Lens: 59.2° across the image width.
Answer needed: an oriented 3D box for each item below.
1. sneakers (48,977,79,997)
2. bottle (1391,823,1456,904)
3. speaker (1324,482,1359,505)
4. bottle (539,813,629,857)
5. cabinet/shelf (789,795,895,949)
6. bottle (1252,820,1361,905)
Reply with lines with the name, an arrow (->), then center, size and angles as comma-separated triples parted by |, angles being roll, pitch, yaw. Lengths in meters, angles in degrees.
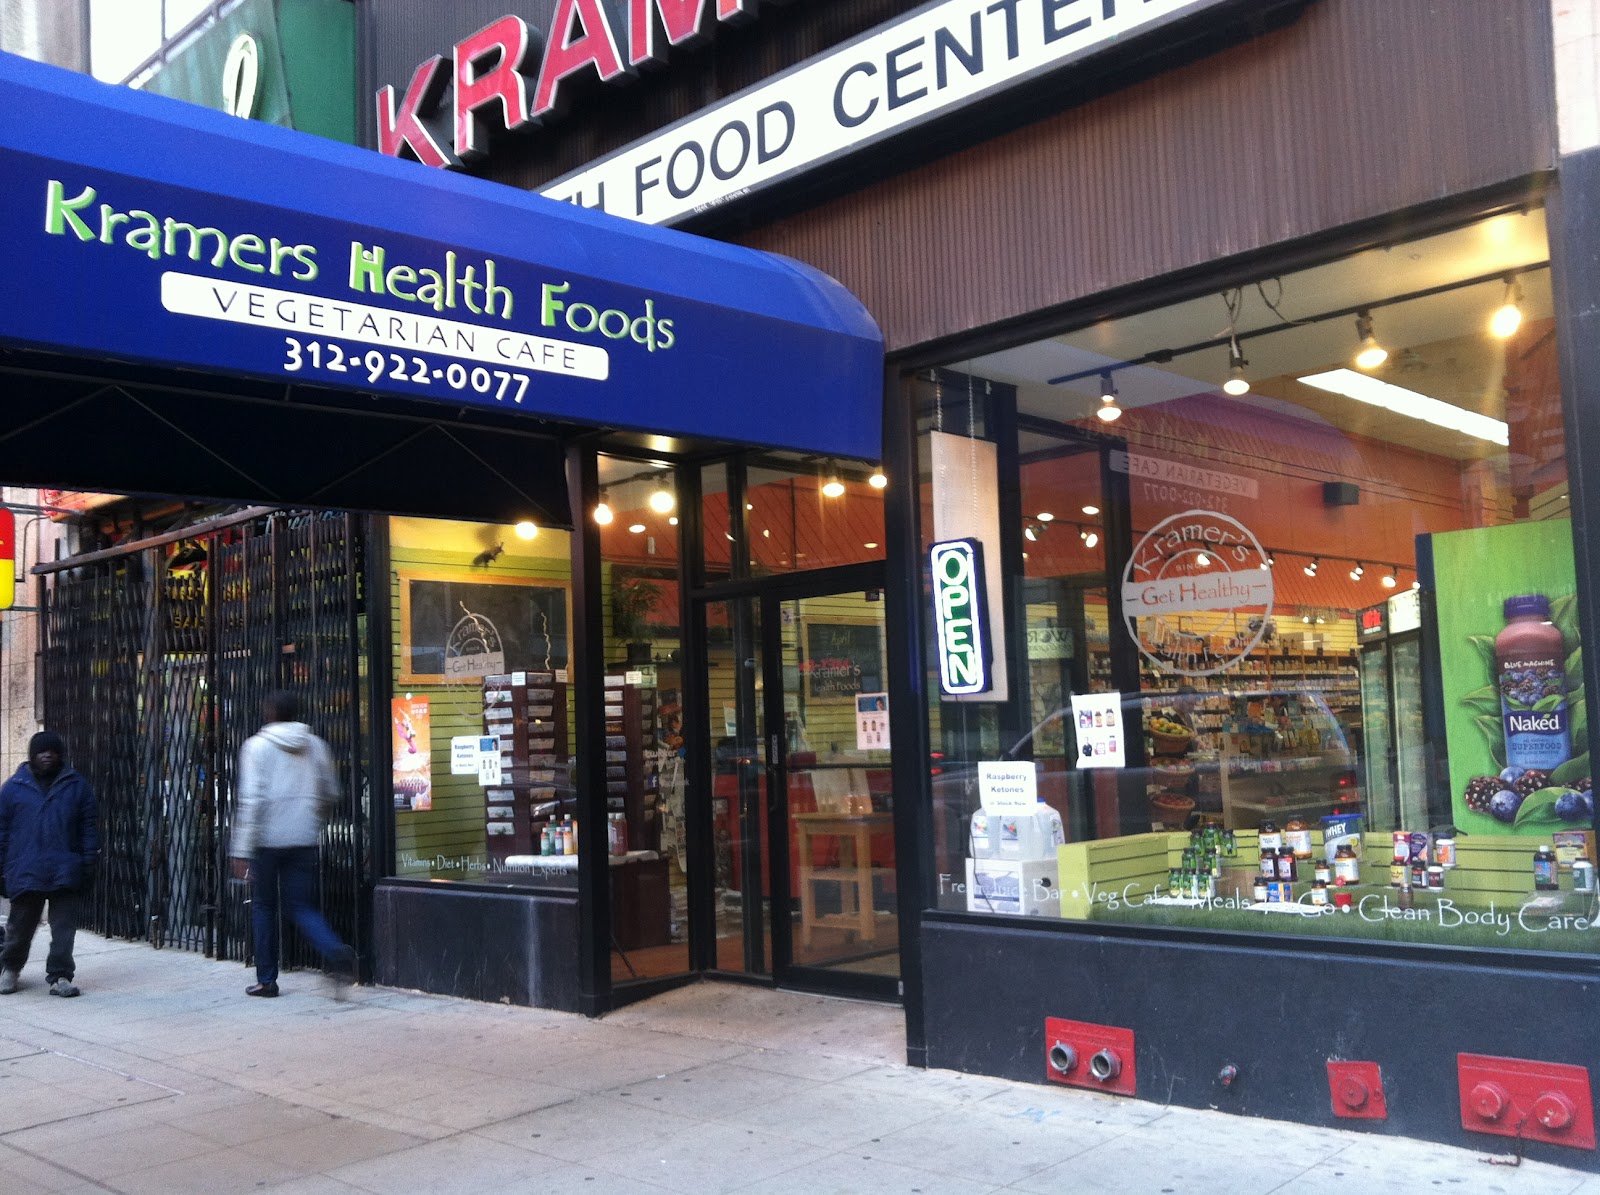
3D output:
sneakers -> -5.345, 2.842, 10.215 | 0.210, 0.093, 0.108 | -4, -3, 41
bottle -> 2.762, 1.205, 6.264 | 0.265, 0.316, 0.174 | -3, 0, 30
speaker -> 2.551, -0.494, 6.669 | 0.175, 0.100, 0.126 | -2, 0, -17
bottle -> -1.453, 1.567, 9.198 | 0.627, 0.305, 0.220 | -3, 0, 16
cabinet/shelf -> 0.330, 1.858, 9.007 | 0.797, 1.138, 0.812 | -5, -11, 27
bottle -> 2.330, 1.243, 6.492 | 0.455, 0.382, 0.163 | -3, 0, 27
